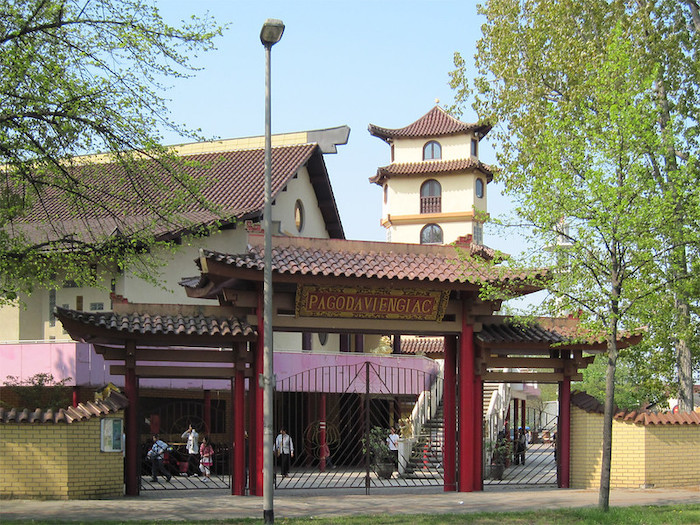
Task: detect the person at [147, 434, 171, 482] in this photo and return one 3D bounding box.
[{"bbox_3d":[-6.231,6.343,44.041,0.734,1.577,2.996,1,-13,-9],"label":"person"}]

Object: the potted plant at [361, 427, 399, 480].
[{"bbox_3d":[1.184,6.434,46.548,0.967,1.831,1.625,0,-12,-1],"label":"potted plant"}]

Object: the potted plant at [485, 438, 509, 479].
[{"bbox_3d":[4.950,6.583,46.329,0.762,1.528,0.999,1,-6,23],"label":"potted plant"}]
